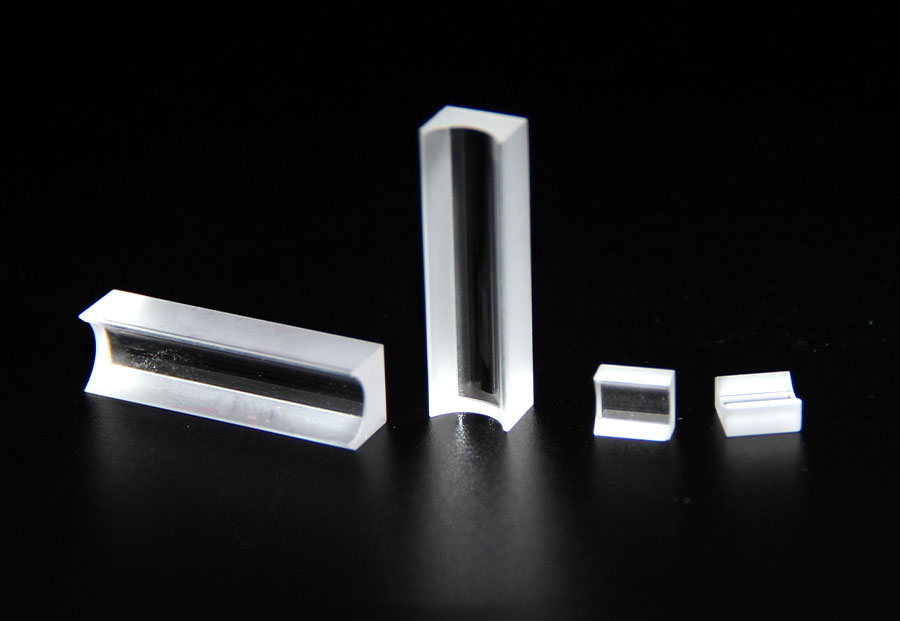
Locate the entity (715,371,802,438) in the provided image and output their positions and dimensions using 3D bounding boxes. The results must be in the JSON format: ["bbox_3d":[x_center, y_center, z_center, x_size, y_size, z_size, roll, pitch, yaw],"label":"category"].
[{"bbox_3d":[1.006,0.300,2.810,0.270,0.201,0.154,-4,-33,3],"label":"entity"}]

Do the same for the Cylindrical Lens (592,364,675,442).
[{"bbox_3d":[0.623,0.288,2.868,0.251,0.153,0.227,3,-60,16],"label":"Cylindrical Lens"}]
